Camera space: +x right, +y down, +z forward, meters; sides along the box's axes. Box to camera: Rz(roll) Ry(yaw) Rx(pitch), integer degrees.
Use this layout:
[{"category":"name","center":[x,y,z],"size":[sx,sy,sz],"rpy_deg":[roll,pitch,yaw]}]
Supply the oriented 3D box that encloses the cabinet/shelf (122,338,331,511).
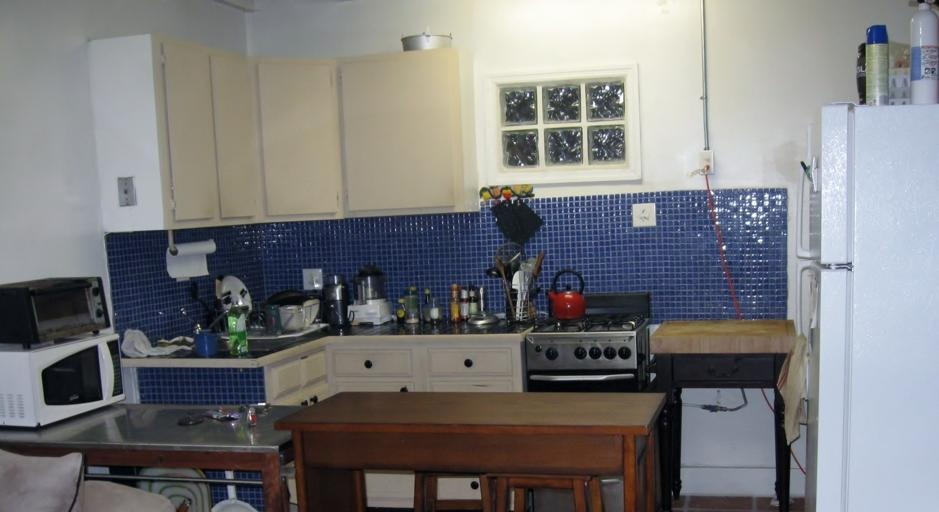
[{"category":"cabinet/shelf","center":[-1.687,1.390,6.167],"size":[0.966,1.310,1.467],"rpy_deg":[-1,7,16]}]

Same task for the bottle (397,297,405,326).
[{"category":"bottle","center":[-0.565,0.443,6.718],"size":[0.082,0.214,0.259],"rpy_deg":[-4,5,-5]}]

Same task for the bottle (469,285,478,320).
[{"category":"bottle","center":[0.043,0.353,6.669],"size":[0.081,0.210,0.108],"rpy_deg":[-3,6,10]}]

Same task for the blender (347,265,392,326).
[{"category":"blender","center":[-0.824,0.321,6.694],"size":[0.292,0.473,0.262],"rpy_deg":[-3,6,11]}]

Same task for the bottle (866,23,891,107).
[{"category":"bottle","center":[2.224,-1.039,4.424],"size":[0.119,0.446,0.221],"rpy_deg":[-1,6,27]}]

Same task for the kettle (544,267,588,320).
[{"category":"kettle","center":[0.765,0.311,6.364],"size":[0.394,0.490,0.348],"rpy_deg":[1,0,12]}]

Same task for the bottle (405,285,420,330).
[{"category":"bottle","center":[-0.466,0.404,6.689],"size":[0.126,0.295,0.326],"rpy_deg":[-4,5,-4]}]

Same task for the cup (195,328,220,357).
[{"category":"cup","center":[-1.876,0.621,5.937],"size":[0.193,0.203,0.186],"rpy_deg":[2,13,-1]}]

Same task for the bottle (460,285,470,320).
[{"category":"bottle","center":[-0.037,0.394,6.657],"size":[0.074,0.244,0.057],"rpy_deg":[-2,6,14]}]

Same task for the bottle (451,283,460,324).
[{"category":"bottle","center":[-0.114,0.386,6.641],"size":[0.089,0.297,0.182],"rpy_deg":[-4,6,2]}]

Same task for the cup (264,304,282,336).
[{"category":"cup","center":[-1.529,0.493,6.288],"size":[0.104,0.217,0.179],"rpy_deg":[-8,7,-35]}]
